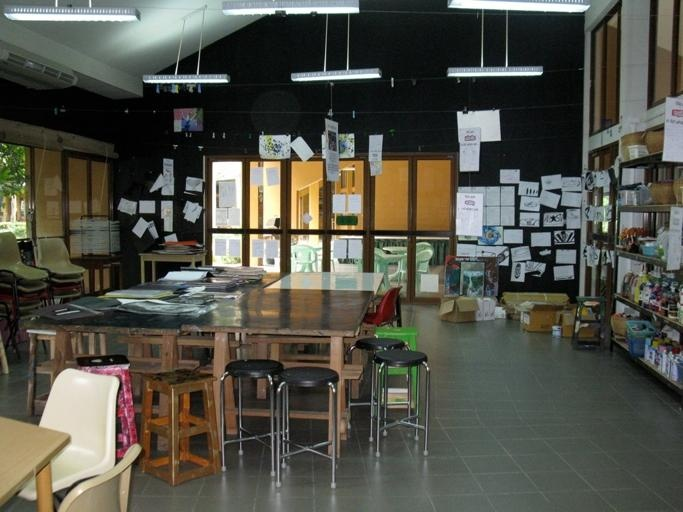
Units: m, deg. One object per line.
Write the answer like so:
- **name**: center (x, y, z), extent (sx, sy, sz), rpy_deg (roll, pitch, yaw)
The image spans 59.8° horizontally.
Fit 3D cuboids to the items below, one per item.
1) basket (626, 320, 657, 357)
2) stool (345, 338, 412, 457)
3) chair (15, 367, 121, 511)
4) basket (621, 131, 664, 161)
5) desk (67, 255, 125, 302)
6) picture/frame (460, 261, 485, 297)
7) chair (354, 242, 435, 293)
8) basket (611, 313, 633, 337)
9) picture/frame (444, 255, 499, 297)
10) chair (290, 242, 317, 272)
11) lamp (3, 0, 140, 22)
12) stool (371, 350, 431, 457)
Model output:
- **basket**: center (3.169, 0.892, 6.395), extent (0.361, 0.273, 0.289), rpy_deg (-1, 2, -21)
- **stool**: center (0.267, 1.015, 5.424), extent (0.686, 1.146, 0.682), rpy_deg (2, 6, 0)
- **chair**: center (-1.382, 0.971, 3.375), extent (0.578, 0.522, 0.648), rpy_deg (5, 4, 20)
- **basket**: center (3.152, -1.180, 6.222), extent (0.288, 0.161, 0.375), rpy_deg (-2, -1, 1)
- **desk**: center (-3.947, 0.241, 9.473), extent (0.503, 0.680, 0.940), rpy_deg (1, 7, 2)
- **picture/frame**: center (1.995, 0.375, 9.155), extent (0.526, 0.752, 0.055), rpy_deg (0, -2, 3)
- **chair**: center (0.967, 0.110, 9.770), extent (0.883, 0.973, 0.888), rpy_deg (4, 3, 22)
- **basket**: center (3.262, 0.798, 6.874), extent (0.164, 0.248, 0.245), rpy_deg (-6, -7, 2)
- **picture/frame**: center (2.059, 0.379, 9.370), extent (0.853, 0.613, 0.478), rpy_deg (1, -11, 14)
- **chair**: center (-0.575, -0.027, 10.074), extent (0.458, 0.610, 0.437), rpy_deg (2, 16, 6)
- **lamp**: center (-2.638, -2.409, 5.843), extent (1.248, 0.139, 0.243), rpy_deg (0, 11, -5)
- **stool**: center (0.442, 1.163, 4.661), extent (0.519, 0.732, 0.516), rpy_deg (0, -4, 20)
